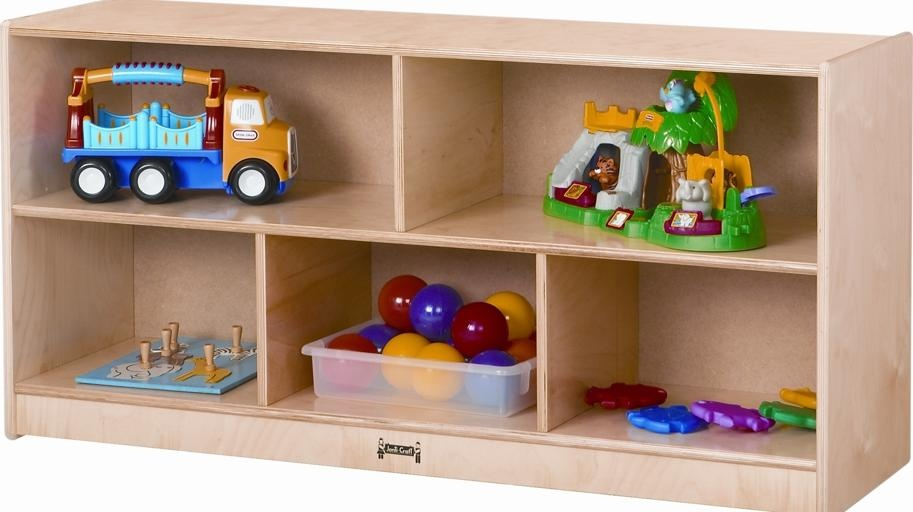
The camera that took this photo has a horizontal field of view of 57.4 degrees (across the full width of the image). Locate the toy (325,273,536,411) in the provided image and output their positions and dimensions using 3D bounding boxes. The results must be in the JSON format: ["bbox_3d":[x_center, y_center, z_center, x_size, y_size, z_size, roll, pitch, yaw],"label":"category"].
[{"bbox_3d":[-0.092,0.374,3.340,0.753,0.331,0.543,4,12,23],"label":"toy"}]
